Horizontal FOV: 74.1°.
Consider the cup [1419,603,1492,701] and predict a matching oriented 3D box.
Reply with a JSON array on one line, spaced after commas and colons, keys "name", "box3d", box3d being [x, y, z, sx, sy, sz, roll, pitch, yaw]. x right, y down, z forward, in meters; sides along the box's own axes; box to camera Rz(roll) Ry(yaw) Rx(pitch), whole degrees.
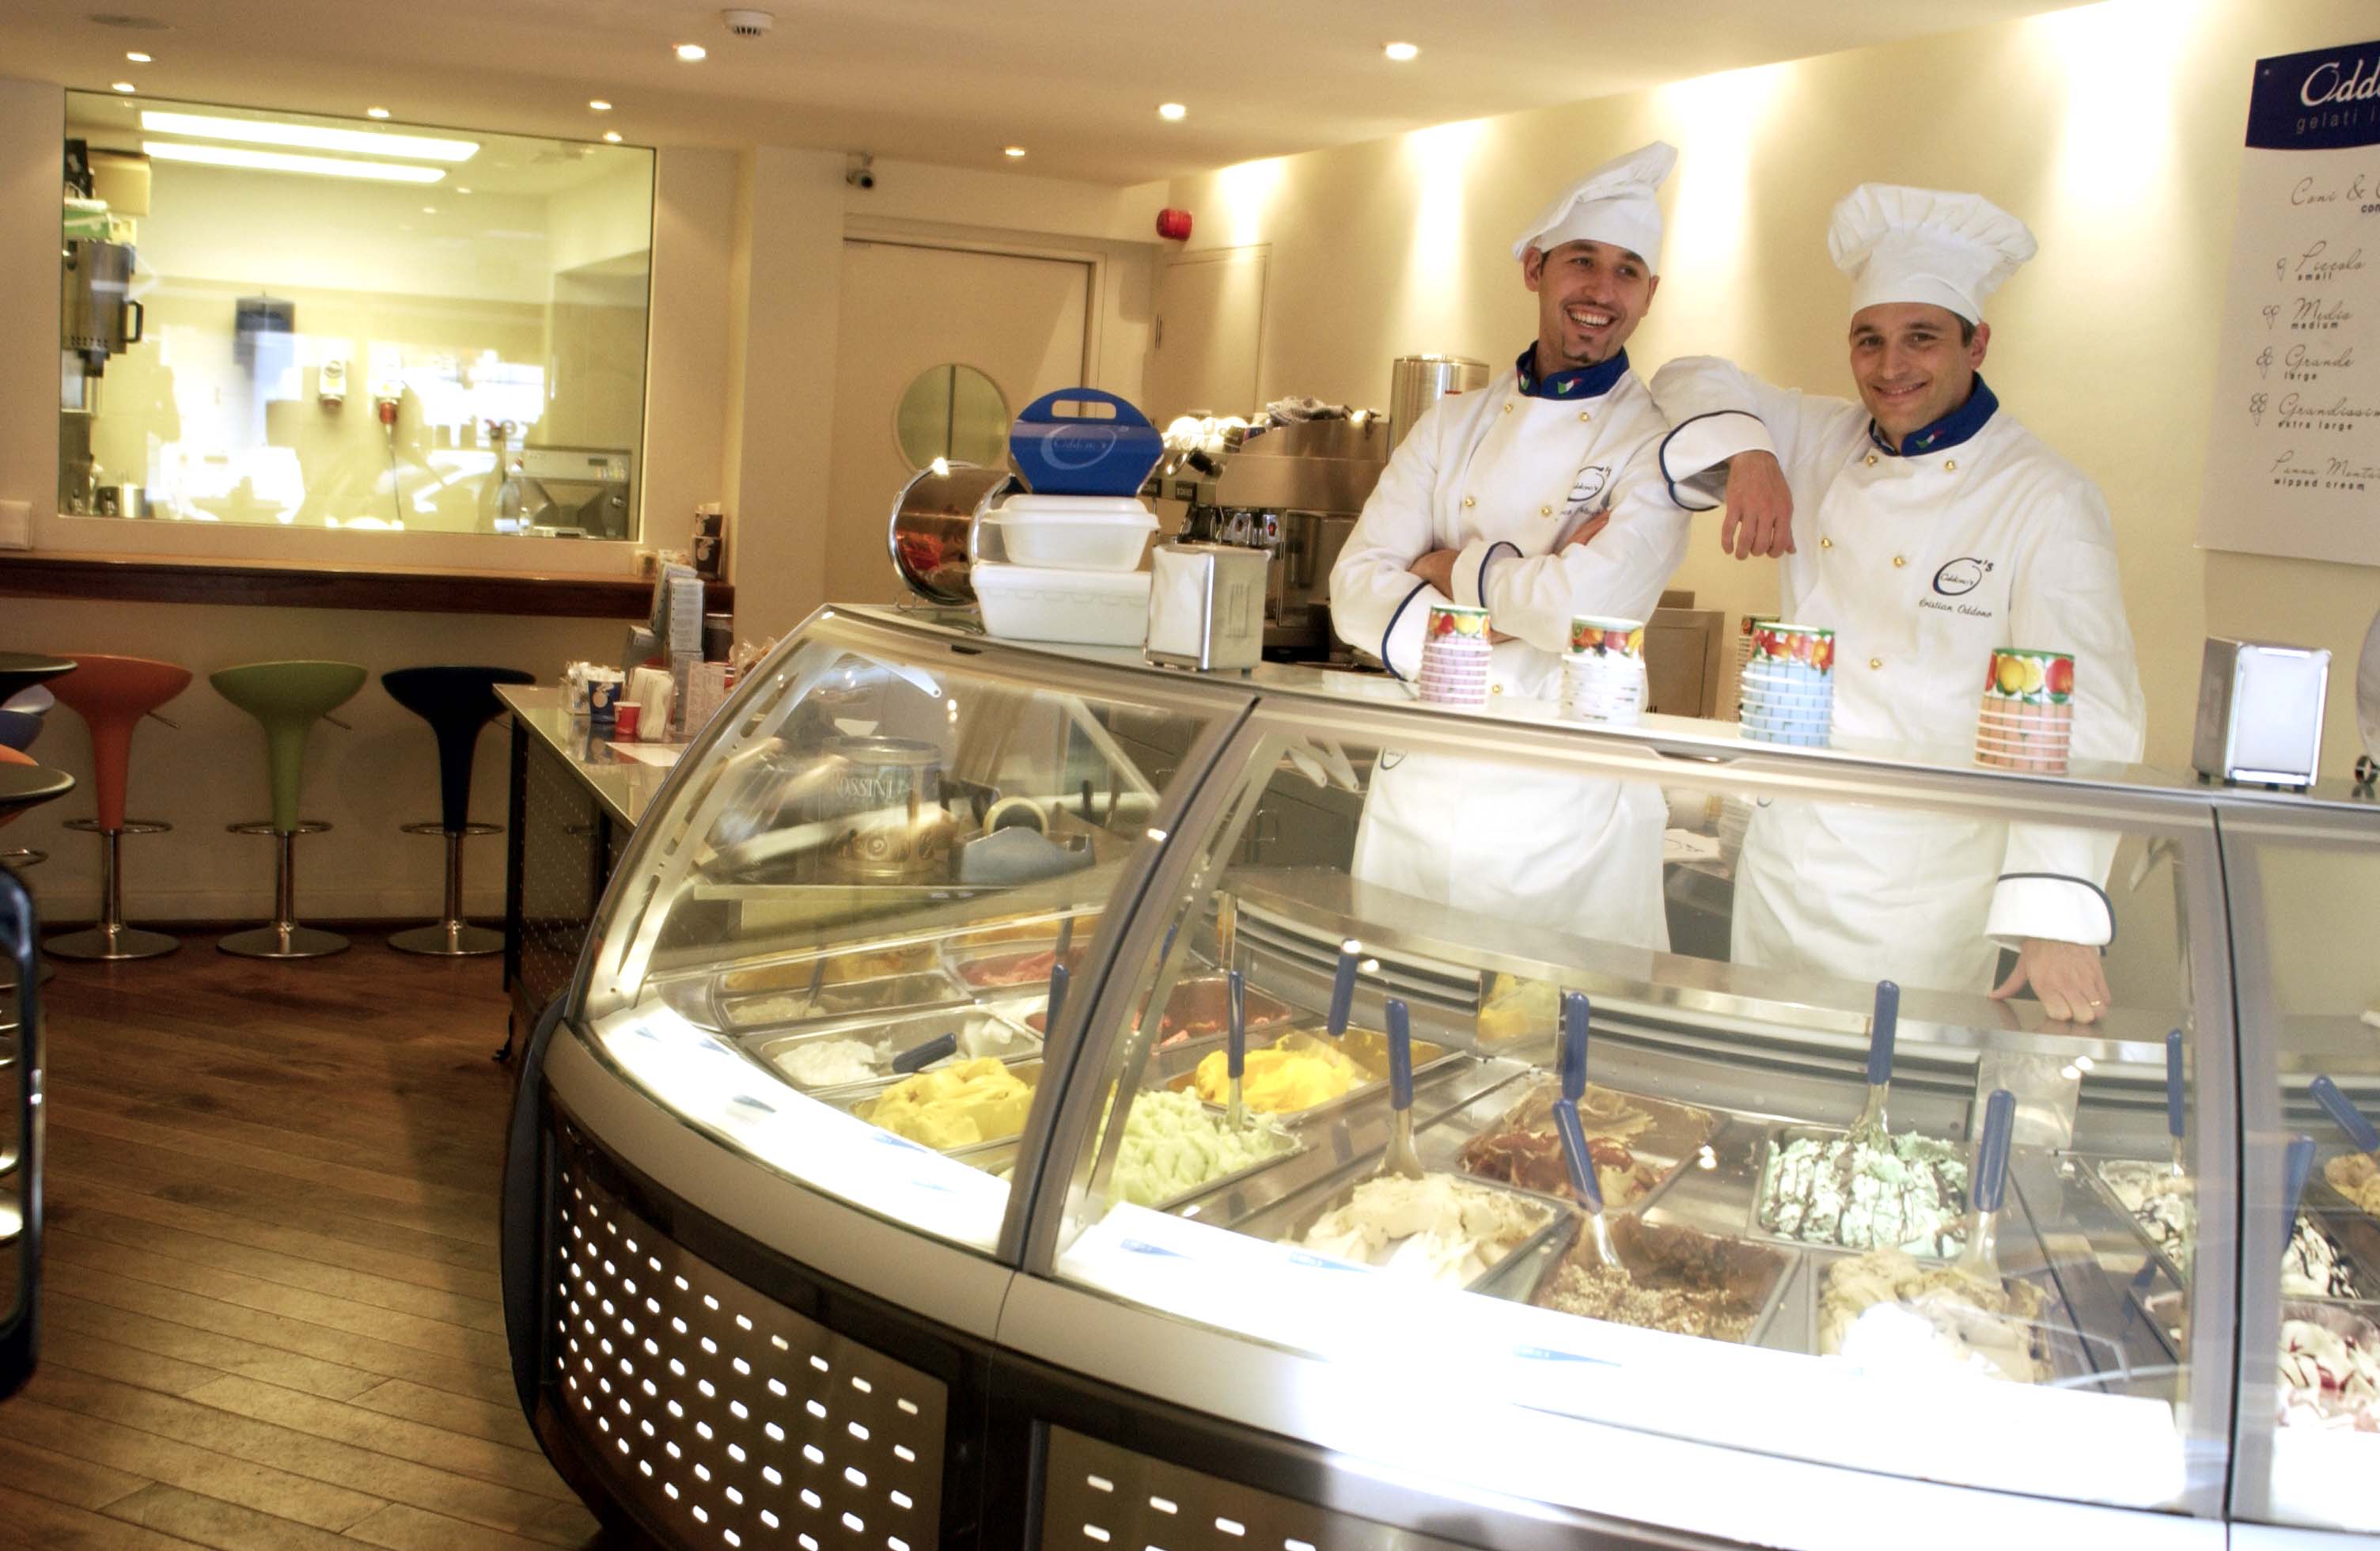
[{"name": "cup", "box3d": [0.333, -0.155, 1.964, 0.113, 0.114, 0.111, 3, -1, 0]}]

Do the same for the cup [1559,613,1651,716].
[{"name": "cup", "box3d": [0.527, -0.141, 2.001, 0.119, 0.116, 0.115, 0, 2, 0]}]

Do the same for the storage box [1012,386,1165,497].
[{"name": "storage box", "box3d": [-0.184, -0.507, 2.401, 0.201, 0.155, 0.299, 1, 12, -16]}]

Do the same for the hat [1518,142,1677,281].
[{"name": "hat", "box3d": [0.699, -0.958, 2.694, 0.218, 0.185, 0.271, -4, 17, -19]}]

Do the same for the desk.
[{"name": "desk", "box3d": [-1.388, 0.124, 3.693, 0.347, 0.747, 0.938, 3, 6, -20]}]

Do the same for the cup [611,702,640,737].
[{"name": "cup", "box3d": [-1.613, -0.172, 4.547, 0.085, 0.085, 0.082, 0, -1, 0]}]

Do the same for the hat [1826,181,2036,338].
[{"name": "hat", "box3d": [1.181, -0.854, 2.546, 0.292, 0.146, 0.256, 13, 3, 12]}]

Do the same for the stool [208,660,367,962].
[{"name": "stool", "box3d": [-3.361, 0.089, 5.905, 0.486, 1.084, 0.644, -1, 13, -27]}]
